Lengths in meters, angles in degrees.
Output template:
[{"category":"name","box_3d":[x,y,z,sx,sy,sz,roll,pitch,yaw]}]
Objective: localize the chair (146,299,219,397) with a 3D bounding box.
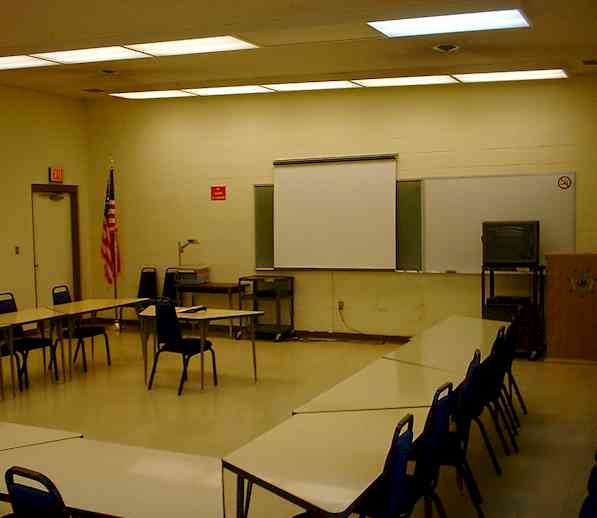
[{"category":"chair","box_3d":[-1.257,0.836,5.822,0.703,0.944,1.237,-3,4,-16]}]

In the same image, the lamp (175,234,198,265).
[{"category":"lamp","box_3d":[-1.701,-0.110,8.363,0.400,0.429,0.157,1,5,31]}]

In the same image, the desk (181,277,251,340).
[{"category":"desk","box_3d":[-1.295,0.763,8.187,1.138,0.907,0.717,0,-1,17]}]

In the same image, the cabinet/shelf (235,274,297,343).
[{"category":"cabinet/shelf","box_3d":[-0.398,0.614,7.995,0.940,1.251,0.847,0,1,22]}]

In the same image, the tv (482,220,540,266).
[{"category":"tv","box_3d":[2.410,-0.166,6.253,0.774,0.683,0.449,0,1,21]}]

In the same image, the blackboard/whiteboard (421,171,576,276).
[{"category":"blackboard/whiteboard","box_3d":[2.440,-0.430,6.452,1.203,0.878,0.054,-2,-3,28]}]

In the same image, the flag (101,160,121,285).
[{"category":"flag","box_3d":[-2.909,-0.517,8.460,0.284,1.865,0.777,-3,5,-19]}]
